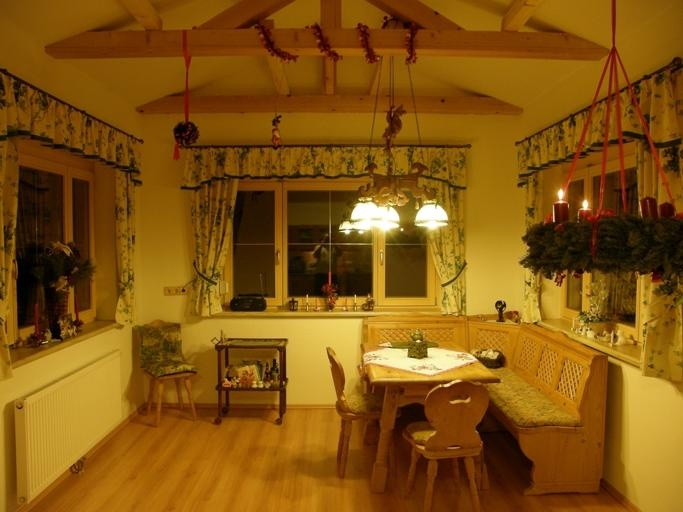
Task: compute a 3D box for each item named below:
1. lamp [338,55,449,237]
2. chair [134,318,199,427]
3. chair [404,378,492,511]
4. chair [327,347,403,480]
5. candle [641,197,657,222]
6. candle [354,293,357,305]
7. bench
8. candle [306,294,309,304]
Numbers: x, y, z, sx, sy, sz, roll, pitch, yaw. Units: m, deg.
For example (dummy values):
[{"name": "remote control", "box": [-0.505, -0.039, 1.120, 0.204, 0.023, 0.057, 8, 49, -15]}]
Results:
[{"name": "lamp", "box": [0.448, -0.984, 5.188, 1.146, 1.860, 2.050, 2, 13, 10]}, {"name": "chair", "box": [-1.846, 1.208, 5.777, 0.601, 0.970, 0.661, -5, 13, -23]}, {"name": "chair", "box": [0.850, 1.436, 4.363, 0.704, 1.109, 0.537, 1, 12, 4]}, {"name": "chair", "box": [0.077, 1.370, 5.275, 0.877, 1.411, 0.887, 0, 2, -5]}, {"name": "candle", "box": [1.656, -0.265, 2.952, 0.089, 0.094, 0.226, 7, 14, 29]}, {"name": "candle", "box": [0.154, 0.476, 6.161, 0.038, 0.100, 0.077, 0, 12, 1]}, {"name": "bench", "box": [1.432, 1.251, 4.999, 1.419, 1.105, 1.501, 1, 4, -7]}, {"name": "candle", "box": [-0.386, 0.471, 6.168, 0.039, 0.096, 0.052, -1, 12, -5]}]
